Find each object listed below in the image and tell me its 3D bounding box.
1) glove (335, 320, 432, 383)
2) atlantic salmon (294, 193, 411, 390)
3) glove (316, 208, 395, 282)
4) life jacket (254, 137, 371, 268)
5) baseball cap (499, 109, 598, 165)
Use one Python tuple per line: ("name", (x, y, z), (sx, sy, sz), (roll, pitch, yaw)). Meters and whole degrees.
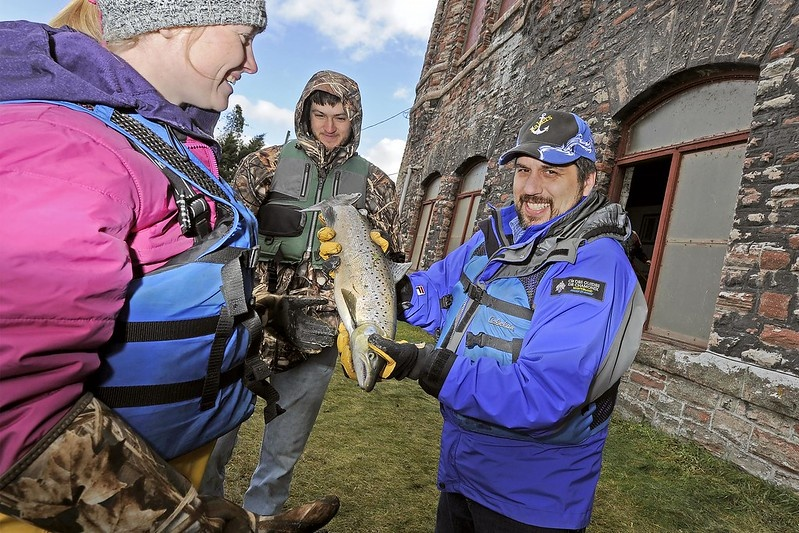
("glove", (-0.022, 0.458, 2.058), (0.340, 0.334, 0.124), (6, 46, 28))
("atlantic salmon", (-0.264, 0.034, 2.447), (0.550, 1.361, 0.364), (-6, -34, 2))
("glove", (-0.413, -0.259, 2.941), (0.192, 0.363, 0.906), (-37, 39, -6))
("life jacket", (-0.628, -0.409, 2.943), (0.686, 0.898, 0.494), (22, -6, -7))
("baseball cap", (0.873, -0.709, 2.492), (0.490, 0.241, 0.345), (-1, 11, -20))
